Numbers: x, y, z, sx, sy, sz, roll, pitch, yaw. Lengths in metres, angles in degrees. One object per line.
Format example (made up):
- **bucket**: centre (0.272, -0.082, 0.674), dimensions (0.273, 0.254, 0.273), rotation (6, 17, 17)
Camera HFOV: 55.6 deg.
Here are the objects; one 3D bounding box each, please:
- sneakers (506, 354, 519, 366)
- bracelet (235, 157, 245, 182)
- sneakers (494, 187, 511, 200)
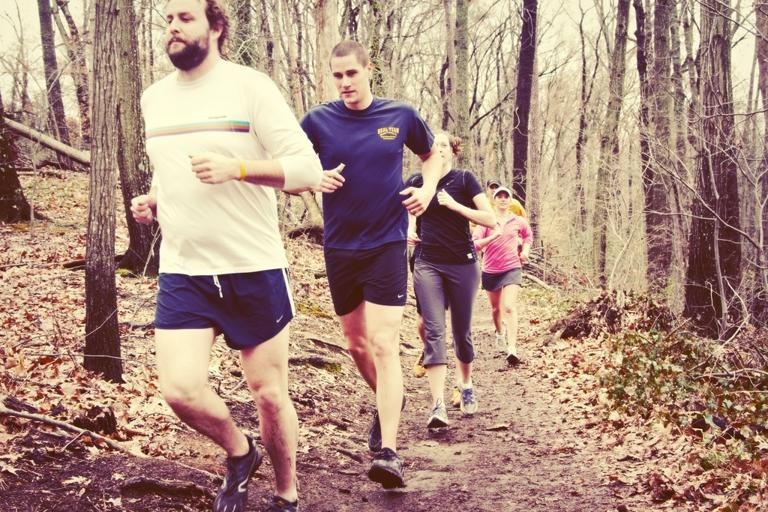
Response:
- **sneakers**: centre (2.218, 1.748, 12.364), dimensions (0.251, 0.217, 0.211), rotation (0, 2, -7)
- **bracelet**: centre (-1.331, -0.799, 6.826), dimensions (0.062, 0.181, 0.038), rotation (0, 1, -13)
- **sneakers**: centre (2.099, -1.095, 12.916), dimensions (0.235, 0.136, 0.334), rotation (2, -5, 6)
